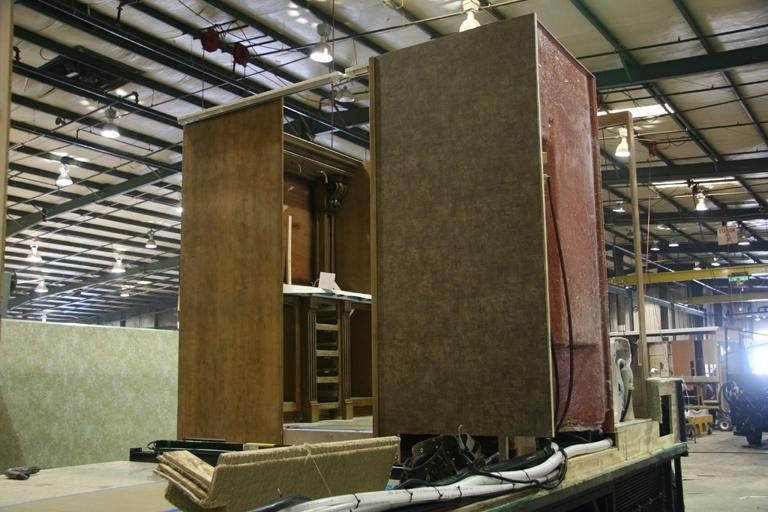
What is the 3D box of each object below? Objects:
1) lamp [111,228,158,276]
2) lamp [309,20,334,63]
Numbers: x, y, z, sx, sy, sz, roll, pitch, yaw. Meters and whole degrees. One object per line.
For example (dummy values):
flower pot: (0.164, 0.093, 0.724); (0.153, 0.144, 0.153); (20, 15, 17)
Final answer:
lamp: (-7.123, -0.009, 20.028); (1.000, 0.808, 5.281); (0, -11, -23)
lamp: (-0.782, -2.774, 9.113); (0.333, 0.404, 0.332); (11, 14, 41)
